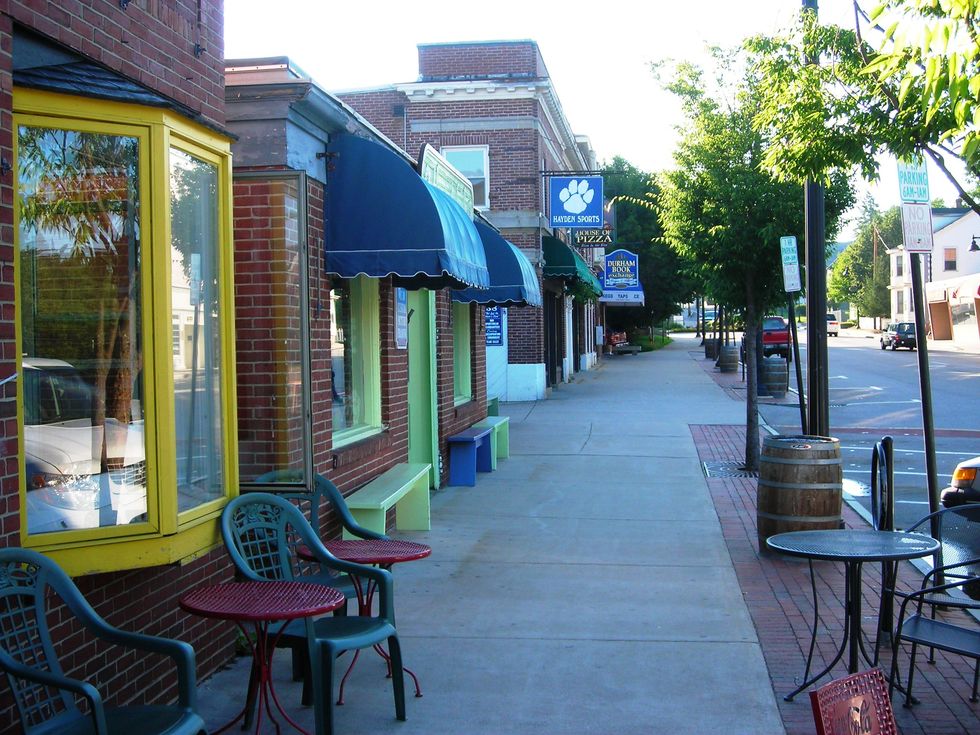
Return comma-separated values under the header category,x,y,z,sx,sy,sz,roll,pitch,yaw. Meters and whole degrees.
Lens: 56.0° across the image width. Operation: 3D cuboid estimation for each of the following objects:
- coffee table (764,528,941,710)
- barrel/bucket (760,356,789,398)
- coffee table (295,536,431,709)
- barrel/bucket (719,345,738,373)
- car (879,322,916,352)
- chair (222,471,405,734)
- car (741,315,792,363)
category,x,y,z,sx,sy,sz,roll,pitch,yaw
coffee table,2.241,1.508,5.626,0.923,1.002,1.123,-3,2,29
barrel/bucket,7.954,0.258,25.896,0.888,1.107,0.968,0,-3,0
coffee table,-0.811,1.679,6.222,0.802,1.028,0.867,0,-4,-2
barrel/bucket,8.943,-0.328,34.607,0.800,0.932,0.812,1,0,0
car,22.492,-1.631,50.835,1.660,1.630,3.139,1,9,11
chair,-1.079,1.326,5.775,1.219,1.879,1.113,-3,-4,39
car,12.740,-1.324,41.152,1.135,1.989,2.268,-3,2,22
